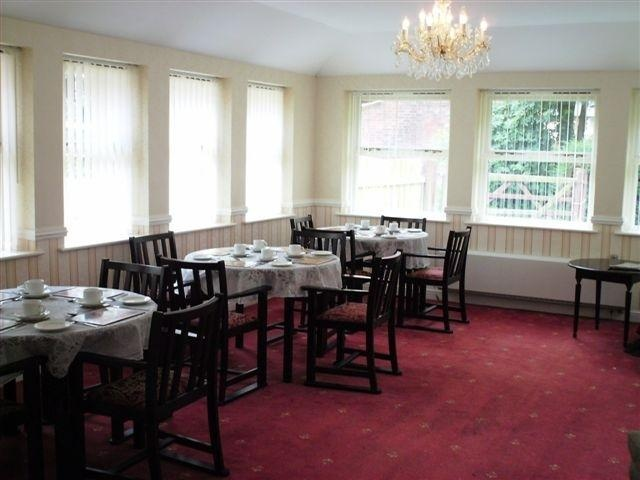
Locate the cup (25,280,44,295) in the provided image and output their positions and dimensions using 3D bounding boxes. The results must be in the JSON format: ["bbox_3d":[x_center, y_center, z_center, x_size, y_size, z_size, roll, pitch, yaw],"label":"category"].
[{"bbox_3d":[-1.887,0.305,3.264,0.118,0.094,0.089,-3,9,-25],"label":"cup"}]

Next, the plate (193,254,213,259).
[{"bbox_3d":[-1.090,0.157,4.579,0.175,0.027,0.189,-2,6,-13],"label":"plate"}]

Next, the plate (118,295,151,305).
[{"bbox_3d":[-1.199,0.391,3.194,0.194,0.038,0.155,2,7,24],"label":"plate"}]

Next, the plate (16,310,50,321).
[{"bbox_3d":[-1.665,0.435,2.862,0.156,0.061,0.130,-4,7,-29],"label":"plate"}]

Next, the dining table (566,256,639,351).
[{"bbox_3d":[3.231,0.640,5.668,0.680,0.914,0.957,3,7,29],"label":"dining table"}]

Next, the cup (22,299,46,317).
[{"bbox_3d":[-1.671,0.394,2.897,0.085,0.092,0.117,-7,-10,40],"label":"cup"}]

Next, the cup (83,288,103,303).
[{"bbox_3d":[-1.418,0.347,3.081,0.078,0.085,0.105,-5,-9,27],"label":"cup"}]

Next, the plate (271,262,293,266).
[{"bbox_3d":[-0.338,0.209,4.330,0.183,0.025,0.207,-1,6,-2],"label":"plate"}]
